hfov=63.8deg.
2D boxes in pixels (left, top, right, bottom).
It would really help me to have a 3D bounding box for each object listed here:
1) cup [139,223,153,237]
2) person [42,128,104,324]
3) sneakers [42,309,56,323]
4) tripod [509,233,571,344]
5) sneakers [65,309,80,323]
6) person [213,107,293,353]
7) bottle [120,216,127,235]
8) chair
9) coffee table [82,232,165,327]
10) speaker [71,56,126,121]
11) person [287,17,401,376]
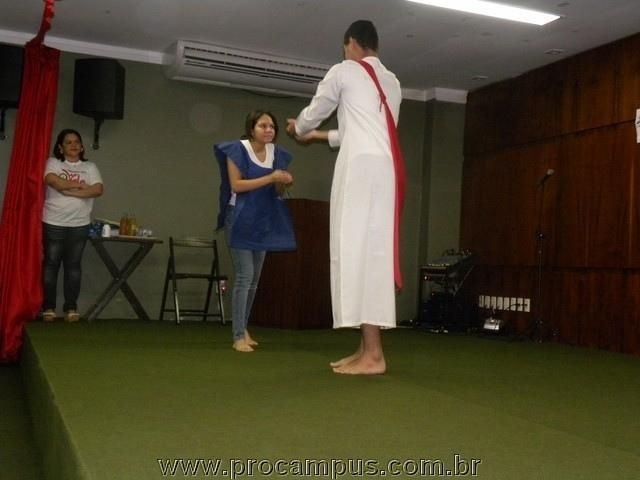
[{"bbox_3d":[-2.063,-0.108,6.095,0.120,0.139,0.170,-1,-9,5],"label":"cup"},{"bbox_3d":[-2.554,-0.173,5.293,0.535,1.982,0.559,4,-5,-30],"label":"person"},{"bbox_3d":[-2.635,0.724,4.987,0.128,0.148,0.136,0,5,-12],"label":"sneakers"},{"bbox_3d":[2.510,0.535,6.032,0.413,1.237,0.738,2,-4,-3],"label":"tripod"},{"bbox_3d":[-2.509,0.766,5.226,0.120,0.103,0.189,5,-4,-29],"label":"sneakers"},{"bbox_3d":[-0.469,-0.075,3.619,0.564,1.668,0.595,2,-4,-3],"label":"person"},{"bbox_3d":[-2.232,-0.150,5.874,0.088,0.181,0.063,6,-6,-44],"label":"bottle"},{"bbox_3d":[-1.487,0.469,6.137,0.567,0.998,0.593,3,-2,-29],"label":"chair"},{"bbox_3d":[-2.287,0.451,5.938,0.760,0.921,0.666,2,-8,-12],"label":"coffee table"},{"bbox_3d":[-2.556,-1.651,5.950,0.588,0.657,0.571,-19,-21,36],"label":"speaker"},{"bbox_3d":[0.169,-0.275,2.930,0.588,2.017,0.313,1,-4,11],"label":"person"}]
